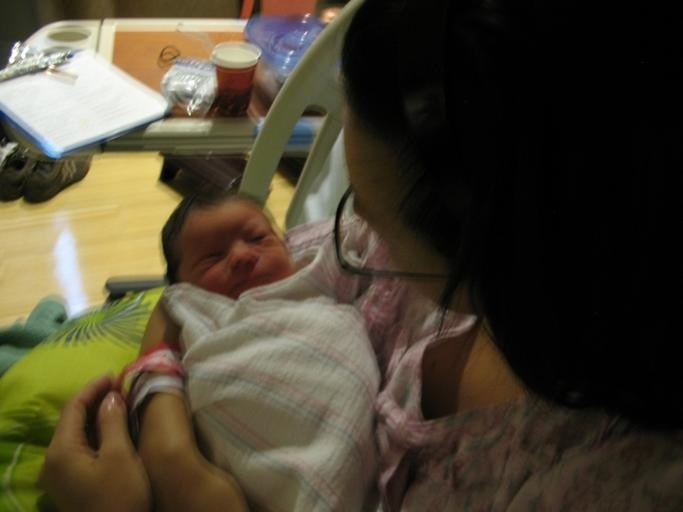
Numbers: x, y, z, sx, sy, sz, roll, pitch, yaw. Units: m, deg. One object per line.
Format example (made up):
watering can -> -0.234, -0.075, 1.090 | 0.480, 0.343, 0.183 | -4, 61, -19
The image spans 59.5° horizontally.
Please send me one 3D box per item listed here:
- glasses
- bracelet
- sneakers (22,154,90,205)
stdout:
glasses -> 0.057, -0.021, 0.816 | 0.118, 0.036, 0.143 | -2, 73, -5
bracelet -> -0.258, 0.148, 0.811 | 0.081, 0.081, 0.067 | -34, 49, 21
sneakers -> -0.499, -0.135, 1.037 | 0.045, 0.055, 0.138 | 37, 42, 0
